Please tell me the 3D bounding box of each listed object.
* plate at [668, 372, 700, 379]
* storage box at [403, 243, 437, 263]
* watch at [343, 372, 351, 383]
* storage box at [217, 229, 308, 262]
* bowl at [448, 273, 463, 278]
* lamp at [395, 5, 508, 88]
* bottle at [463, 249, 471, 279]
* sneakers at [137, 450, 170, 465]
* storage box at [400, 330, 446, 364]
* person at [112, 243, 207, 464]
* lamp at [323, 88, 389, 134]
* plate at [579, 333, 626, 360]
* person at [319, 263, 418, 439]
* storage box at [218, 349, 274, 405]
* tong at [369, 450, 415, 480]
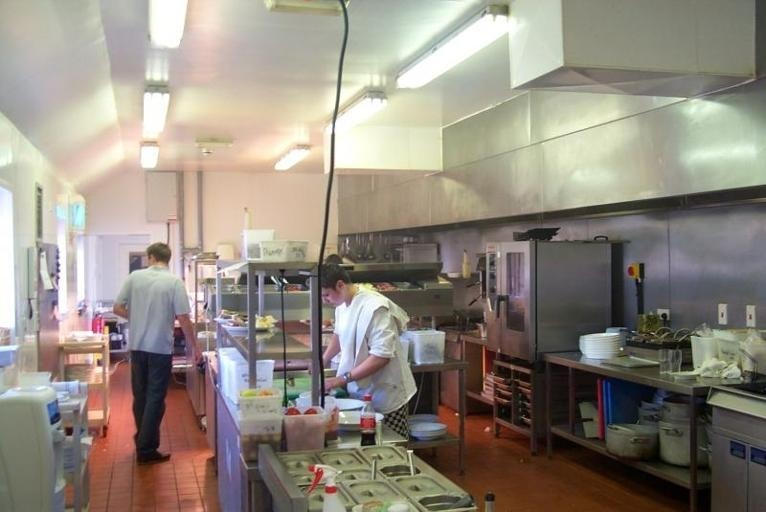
[{"bbox_3d":[2.345,0.932,4.913,0.202,0.045,0.116,1,5,27],"label":"plate"},{"bbox_3d":[0.552,-0.049,9.139,0.284,0.283,0.744,-3,5,-20],"label":"storage box"},{"bbox_3d":[-0.259,0.888,4.579,0.044,0.061,0.067,1,3,-10],"label":"watch"},{"bbox_3d":[-0.720,-0.074,4.066,0.388,0.170,0.235,-4,-6,42],"label":"storage box"},{"bbox_3d":[0.923,0.250,8.093,0.170,0.059,0.276,-1,5,3],"label":"bowl"},{"bbox_3d":[0.566,-1.711,5.178,0.269,0.365,1.236,-4,6,-31],"label":"lamp"},{"bbox_3d":[1.080,0.098,8.156,0.105,0.339,0.427,-1,5,7],"label":"bottle"},{"bbox_3d":[-2.185,1.938,6.099,0.332,0.138,0.108,-1,2,-33],"label":"sneakers"},{"bbox_3d":[0.389,0.816,5.641,0.249,0.217,0.366,1,-7,-15],"label":"storage box"},{"bbox_3d":[-2.231,0.923,6.237,0.643,2.076,0.593,-6,8,-43],"label":"person"},{"bbox_3d":[-0.259,-1.556,6.676,0.272,0.265,1.033,-3,5,-24],"label":"lamp"},{"bbox_3d":[1.978,0.817,5.757,0.254,0.134,0.286,0,-4,2],"label":"plate"},{"bbox_3d":[-0.097,0.795,4.846,0.707,1.524,0.844,-2,5,-5],"label":"person"},{"bbox_3d":[-0.991,0.873,4.536,0.318,0.279,0.469,2,-7,-24],"label":"storage box"},{"bbox_3d":[0.052,1.151,3.442,0.140,0.073,0.247,1,-4,-8],"label":"tong"}]
